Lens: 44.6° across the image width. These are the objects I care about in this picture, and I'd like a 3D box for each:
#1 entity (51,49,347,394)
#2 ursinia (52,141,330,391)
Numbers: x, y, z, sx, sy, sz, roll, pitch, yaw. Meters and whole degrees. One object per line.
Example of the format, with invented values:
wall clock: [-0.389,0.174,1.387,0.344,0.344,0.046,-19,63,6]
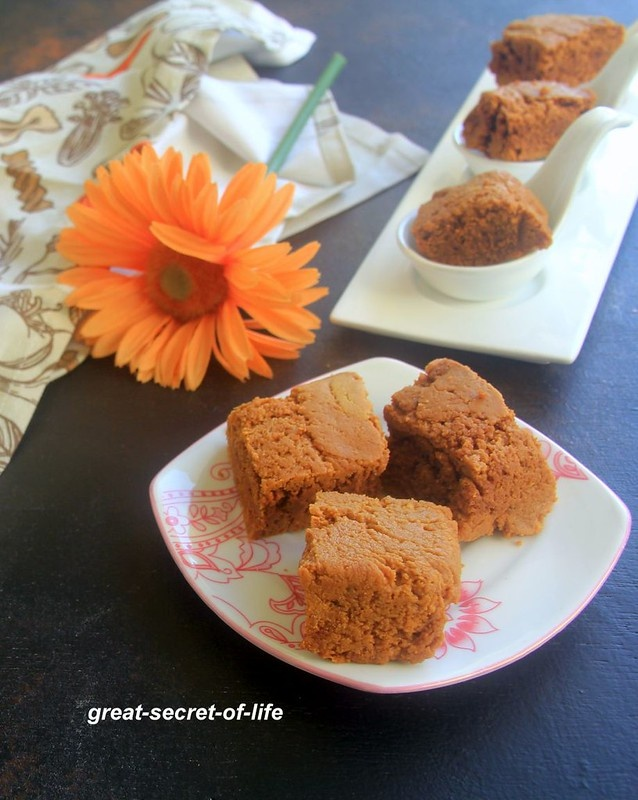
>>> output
entity: [-0.156,-0.181,0.841,0.337,0.287,0.162,-12,40,-7]
ursinia: [-0.158,-0.157,0.891,0.325,0.263,0.254,-3,55,0]
